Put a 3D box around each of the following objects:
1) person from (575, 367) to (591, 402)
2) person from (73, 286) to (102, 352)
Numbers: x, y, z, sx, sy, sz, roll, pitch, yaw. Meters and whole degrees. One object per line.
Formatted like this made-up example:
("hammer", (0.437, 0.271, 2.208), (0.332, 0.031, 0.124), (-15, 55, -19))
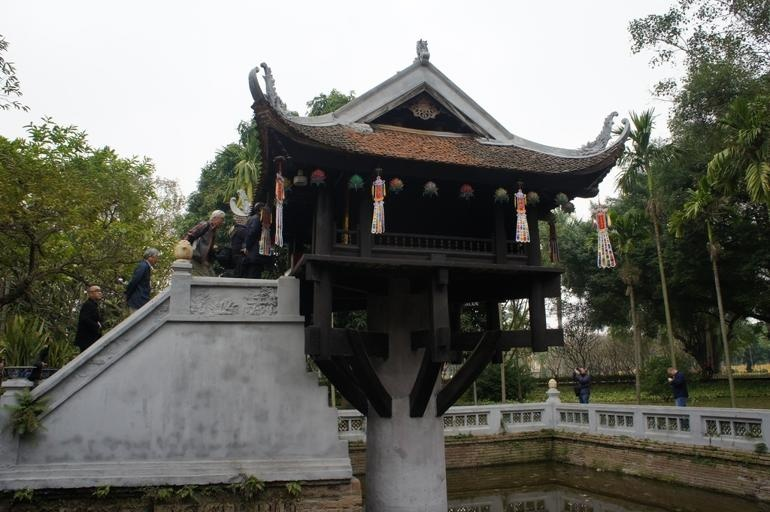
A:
("person", (7.710, 5.004, 25.416), (0.505, 1.365, 3.087), (-2, -10, 16))
("person", (-8.077, 1.655, 17.640), (0.595, 1.827, 1.128), (6, -11, -25))
